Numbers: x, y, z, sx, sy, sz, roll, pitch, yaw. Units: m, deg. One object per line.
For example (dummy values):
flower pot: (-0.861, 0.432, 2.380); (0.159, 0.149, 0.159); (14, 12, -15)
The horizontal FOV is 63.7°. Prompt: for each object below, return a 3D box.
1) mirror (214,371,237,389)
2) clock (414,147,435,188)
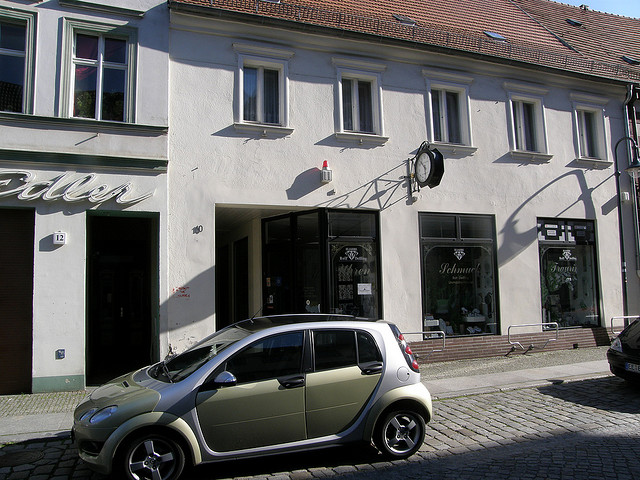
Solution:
mirror: (-1.319, 1.955, 7.246); (0.269, 0.191, 0.195); (0, 7, -2)
clock: (2.766, -1.888, 13.572); (0.164, 1.207, 1.021); (2, -4, -21)
